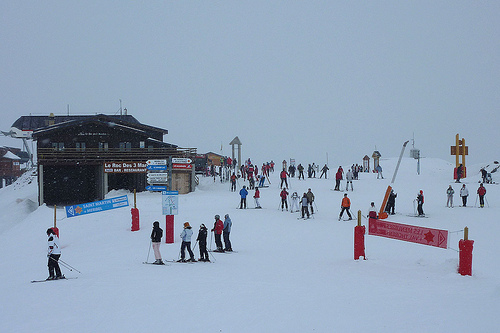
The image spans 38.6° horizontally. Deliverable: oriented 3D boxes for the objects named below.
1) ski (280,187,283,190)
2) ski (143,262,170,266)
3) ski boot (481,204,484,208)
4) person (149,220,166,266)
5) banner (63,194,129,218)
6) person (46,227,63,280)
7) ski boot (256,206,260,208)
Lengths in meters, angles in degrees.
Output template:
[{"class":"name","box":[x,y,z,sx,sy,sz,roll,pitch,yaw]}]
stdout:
[{"class":"ski","box":[3.285,2.417,76.031,0.234,0.274,0.060,-3,-5,6]},{"class":"ski","box":[-6.697,6.968,50.769,1.892,0.118,0.235,0,0,19]},{"class":"ski boot","box":[20.427,3.540,62.806,0.222,0.259,0.064,-1,-12,33]},{"class":"person","box":[-6.642,5.477,50.939,0.825,3.101,1.526,0,0,-8]},{"class":"banner","box":[-12.397,3.279,58.011,4.909,0.065,1.407,-11,-43,-18]},{"class":"person","box":[-13.472,6.034,48.965,0.943,3.516,1.198,0,0,-16]},{"class":"ski boot","box":[0.730,3.740,65.229,0.333,0.142,0.162,0,0,-29]}]
